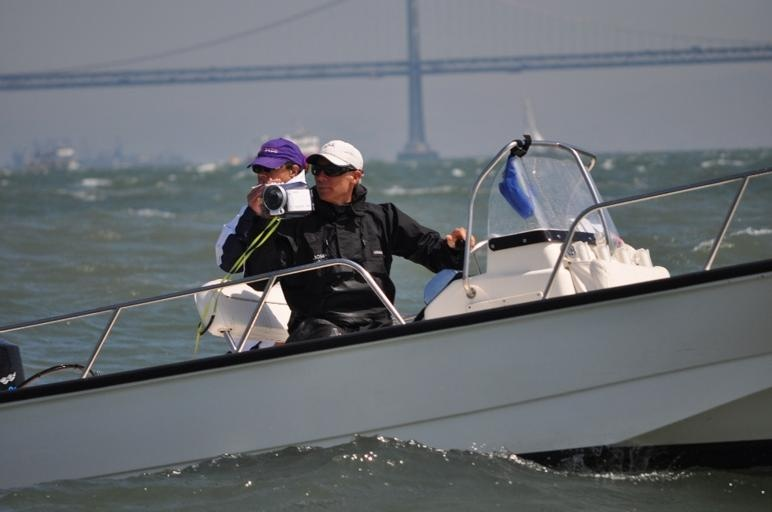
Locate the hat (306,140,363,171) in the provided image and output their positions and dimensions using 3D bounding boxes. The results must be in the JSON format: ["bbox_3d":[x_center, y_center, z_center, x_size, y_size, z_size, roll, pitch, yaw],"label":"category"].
[{"bbox_3d":[-0.386,-0.768,12.804,0.231,0.154,0.323,5,-11,40],"label":"hat"}]

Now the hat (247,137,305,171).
[{"bbox_3d":[-0.851,-0.772,13.029,0.356,0.191,0.243,6,-5,-43],"label":"hat"}]
